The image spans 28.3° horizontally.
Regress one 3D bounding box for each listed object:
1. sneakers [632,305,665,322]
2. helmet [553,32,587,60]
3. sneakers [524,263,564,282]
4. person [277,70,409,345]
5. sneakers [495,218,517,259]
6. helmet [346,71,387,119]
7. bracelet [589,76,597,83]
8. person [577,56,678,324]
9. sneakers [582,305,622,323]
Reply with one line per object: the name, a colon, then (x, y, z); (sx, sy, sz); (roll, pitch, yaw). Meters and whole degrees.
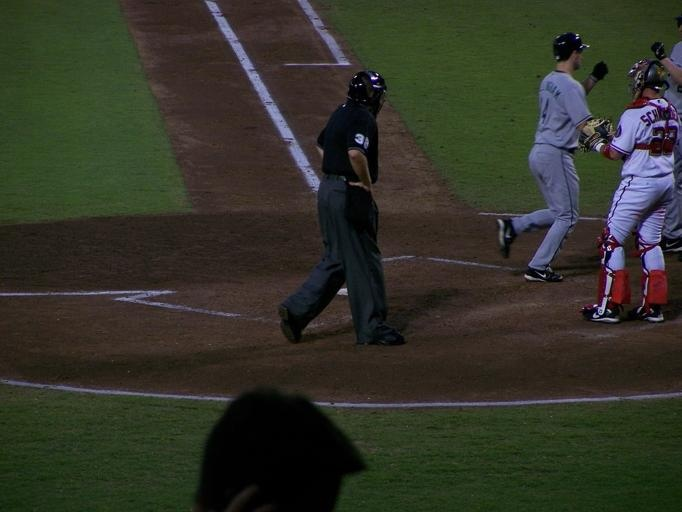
sneakers: (3.140, 0.589, 13.870); (0.155, 0.120, 0.399); (-9, 12, -44)
helmet: (2.530, -2.307, 15.003); (0.328, 0.301, 0.364); (3, 16, 8)
sneakers: (2.320, 0.210, 15.128); (0.522, 0.144, 0.140); (1, 18, -2)
person: (0.071, -0.446, 13.375); (1.178, 2.672, 0.864); (1, 19, 1)
sneakers: (1.890, -0.215, 15.487); (0.287, 0.405, 0.172); (-1, 18, 2)
helmet: (0.246, -1.616, 13.504); (0.348, 0.440, 0.386); (0, 17, -2)
bracelet: (2.866, -2.001, 15.376); (0.088, 0.041, 0.070); (14, 4, -7)
person: (2.984, -0.635, 13.767); (0.811, 2.622, 0.908); (4, 20, 8)
sneakers: (2.683, 0.585, 13.879); (0.413, 0.126, 0.178); (8, 13, 31)
